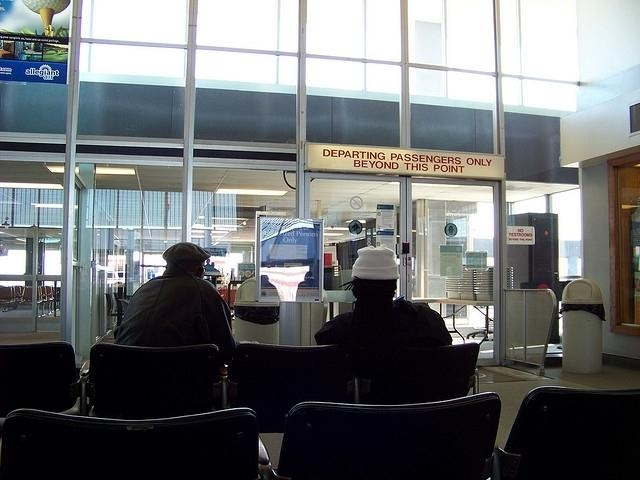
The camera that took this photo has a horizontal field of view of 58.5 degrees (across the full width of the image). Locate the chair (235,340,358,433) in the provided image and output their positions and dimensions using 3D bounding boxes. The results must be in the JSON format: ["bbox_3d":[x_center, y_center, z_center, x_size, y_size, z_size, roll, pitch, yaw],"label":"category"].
[{"bbox_3d":[-0.106,0.730,3.299,0.506,0.706,0.564,1,2,0],"label":"chair"}]

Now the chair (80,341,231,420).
[{"bbox_3d":[-0.885,0.756,3.080,0.554,0.496,0.468,1,3,-5],"label":"chair"}]

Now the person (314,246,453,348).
[{"bbox_3d":[0.381,0.342,3.419,0.799,0.593,0.330,1,-2,-2],"label":"person"}]

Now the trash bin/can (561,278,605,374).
[{"bbox_3d":[3.354,1.099,7.314,0.499,1.174,0.254,-1,-2,26],"label":"trash bin/can"}]

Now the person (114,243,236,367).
[{"bbox_3d":[-0.976,0.453,3.852,0.868,0.931,0.647,-5,-16,25],"label":"person"}]

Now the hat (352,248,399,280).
[{"bbox_3d":[0.352,0.152,3.609,0.298,0.192,0.295,1,-2,16],"label":"hat"}]
